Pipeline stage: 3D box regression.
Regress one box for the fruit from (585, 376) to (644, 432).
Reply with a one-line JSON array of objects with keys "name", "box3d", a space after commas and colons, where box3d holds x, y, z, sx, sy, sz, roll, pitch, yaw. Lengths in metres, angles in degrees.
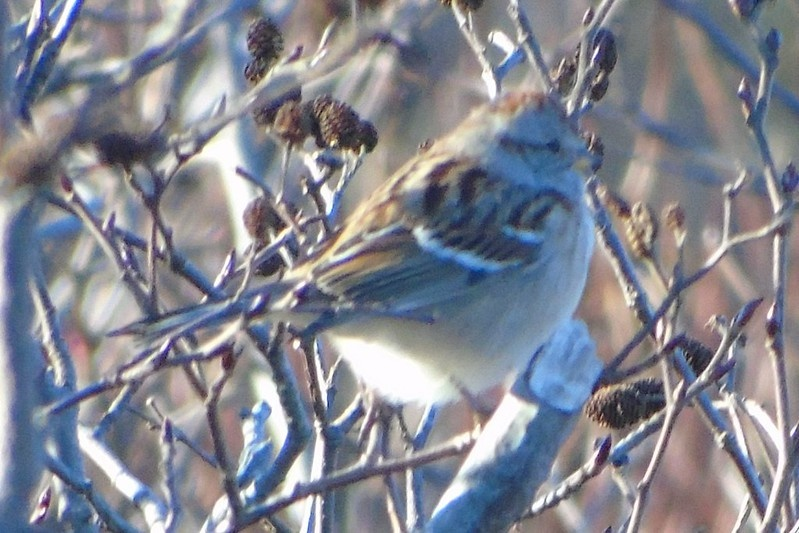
[{"name": "fruit", "box3d": [0.799, 0.521, 6.244, 0.169, 0.123, 0.170, 1, -80, -6]}]
